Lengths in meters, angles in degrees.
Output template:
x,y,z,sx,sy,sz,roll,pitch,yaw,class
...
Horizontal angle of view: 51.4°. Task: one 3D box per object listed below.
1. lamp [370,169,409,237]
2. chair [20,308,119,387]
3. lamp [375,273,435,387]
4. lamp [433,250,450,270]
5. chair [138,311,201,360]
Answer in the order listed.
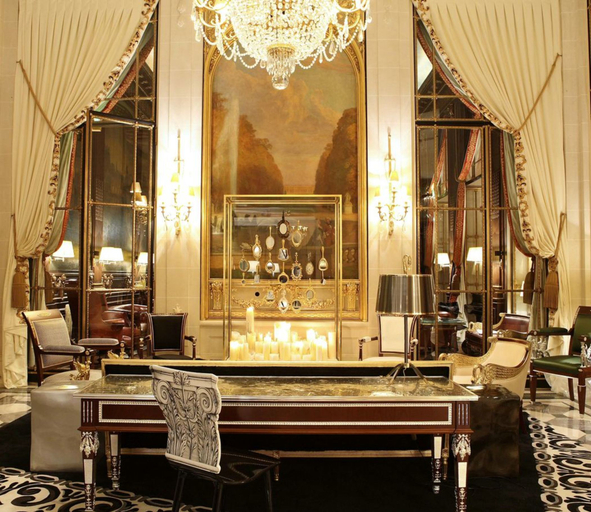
x,y,z,sx,sy,sz,roll,pitch,yaw,class
1.268,-0.707,8.113,0.459,0.849,0.166,1,-2,13,lamp
-2.540,1.043,6.722,0.856,0.862,3.017,2,-3,-24,chair
0.870,0.545,4.870,0.434,0.807,0.707,1,-2,13,lamp
1.936,0.055,8.135,0.183,0.218,0.196,-1,5,19,lamp
-1.513,0.961,7.500,0.527,0.884,0.575,0,-6,-9,chair
